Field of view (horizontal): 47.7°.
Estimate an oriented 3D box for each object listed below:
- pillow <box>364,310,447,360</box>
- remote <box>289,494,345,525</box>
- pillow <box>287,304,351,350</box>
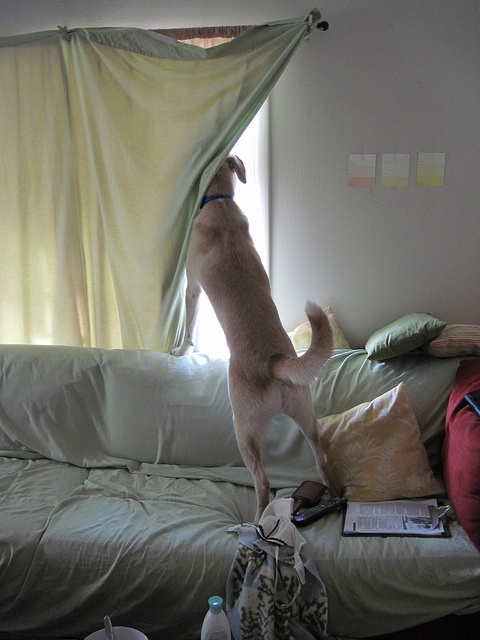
[{"bbox_3d":[0.612,0.078,2.016,0.175,0.085,0.292,-28,1,0],"label":"pillow"},{"bbox_3d":[0.236,0.578,1.640,0.187,0.039,0.057,-15,26,-39],"label":"remote"},{"bbox_3d":[0.360,0.057,2.464,0.220,0.193,0.068,-17,-15,30],"label":"pillow"}]
